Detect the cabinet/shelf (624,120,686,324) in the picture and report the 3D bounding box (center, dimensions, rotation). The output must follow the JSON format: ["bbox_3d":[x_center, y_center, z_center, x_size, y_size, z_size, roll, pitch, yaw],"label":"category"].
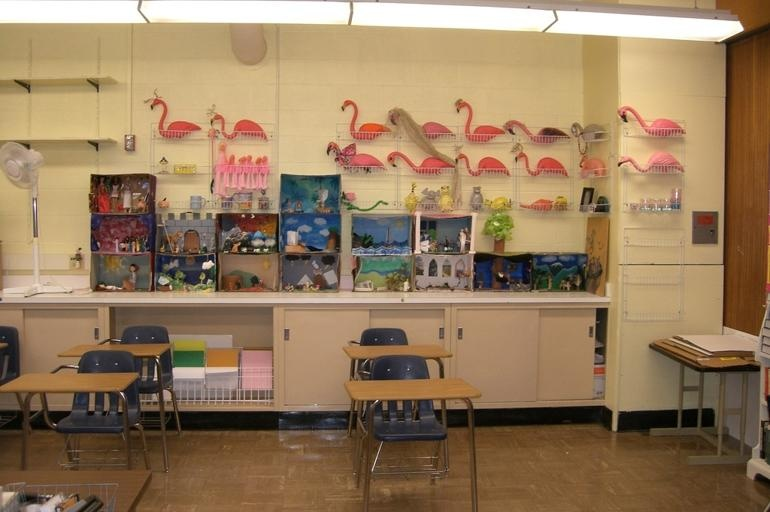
[{"bbox_3d":[3.200,-0.487,9.768,0.852,2.533,0.245,-2,3,-10],"label":"cabinet/shelf"}]

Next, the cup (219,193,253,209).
[{"bbox_3d":[-1.834,-0.681,10.227,0.355,0.211,0.196,1,1,-1],"label":"cup"}]

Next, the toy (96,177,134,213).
[{"bbox_3d":[-3.304,-0.760,10.068,0.434,0.450,0.138,-2,3,4],"label":"toy"}]

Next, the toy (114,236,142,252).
[{"bbox_3d":[-3.149,-0.140,10.104,0.327,0.196,0.151,-2,3,-11],"label":"toy"}]

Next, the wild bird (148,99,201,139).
[{"bbox_3d":[-2.597,-1.722,10.251,0.702,0.560,0.234,2,7,7],"label":"wild bird"}]

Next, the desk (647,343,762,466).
[{"bbox_3d":[3.871,1.699,9.763,1.015,1.144,1.955,1,-1,5],"label":"desk"}]

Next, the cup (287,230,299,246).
[{"bbox_3d":[-1.136,-0.226,10.202,0.156,0.289,0.156,-1,6,0],"label":"cup"}]

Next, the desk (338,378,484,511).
[{"bbox_3d":[0.153,1.962,8.377,1.581,1.482,1.226,0,-5,-6],"label":"desk"}]

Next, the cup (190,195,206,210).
[{"bbox_3d":[-2.319,-0.667,10.206,0.204,0.183,0.128,0,1,-6],"label":"cup"}]
